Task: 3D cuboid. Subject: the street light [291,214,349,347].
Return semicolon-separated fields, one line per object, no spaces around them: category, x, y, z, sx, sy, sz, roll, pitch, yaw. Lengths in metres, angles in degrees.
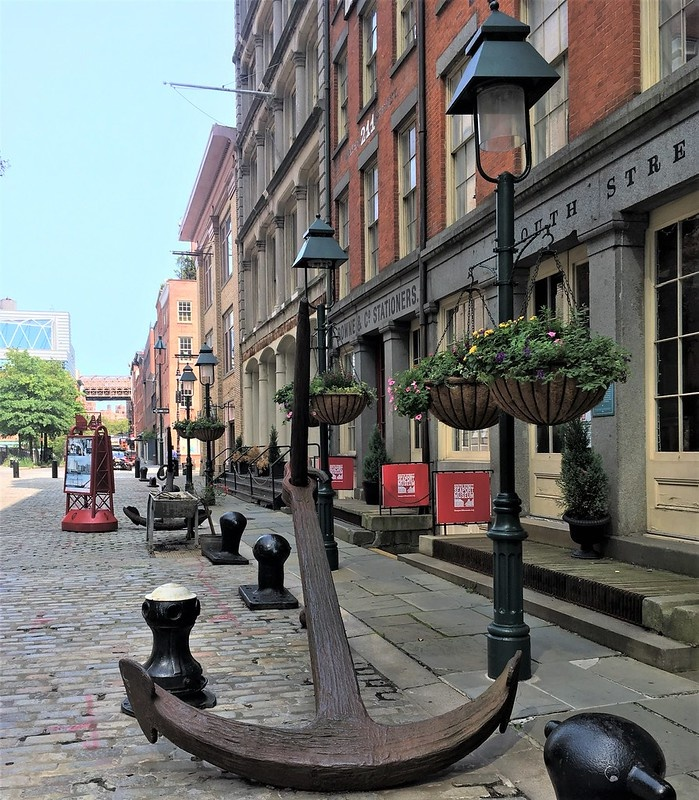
street light;-0.354;-1.673;9.874;0.580;1.131;1.408;-1;-3;-4

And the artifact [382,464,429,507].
artifact;0.774;1.241;12.308;0.440;0.526;0.165;0;-4;-11

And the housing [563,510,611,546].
housing;2.234;1.161;8.001;0.279;0.269;0.302;1;2;-15

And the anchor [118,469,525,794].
anchor;-0.189;0.924;4.339;1.296;1.535;1.157;1;0;-9
